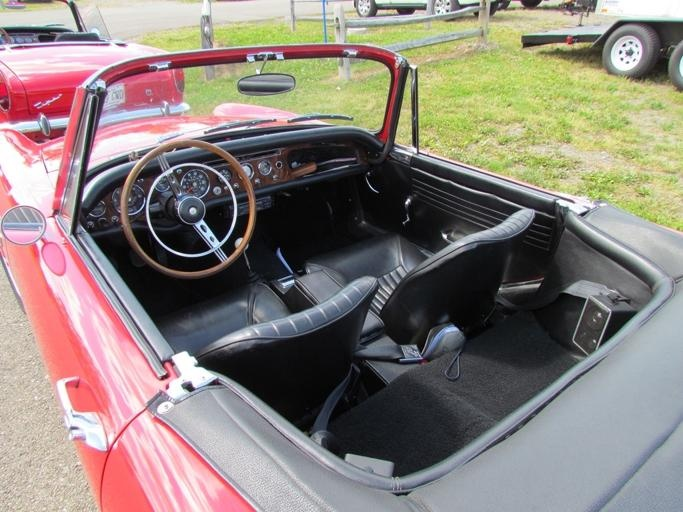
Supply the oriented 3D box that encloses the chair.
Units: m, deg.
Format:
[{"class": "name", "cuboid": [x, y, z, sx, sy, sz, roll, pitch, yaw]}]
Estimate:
[{"class": "chair", "cuboid": [0.010, 0.264, 2.469, 0.952, 0.421, 0.445, -25, 46, -31]}]
